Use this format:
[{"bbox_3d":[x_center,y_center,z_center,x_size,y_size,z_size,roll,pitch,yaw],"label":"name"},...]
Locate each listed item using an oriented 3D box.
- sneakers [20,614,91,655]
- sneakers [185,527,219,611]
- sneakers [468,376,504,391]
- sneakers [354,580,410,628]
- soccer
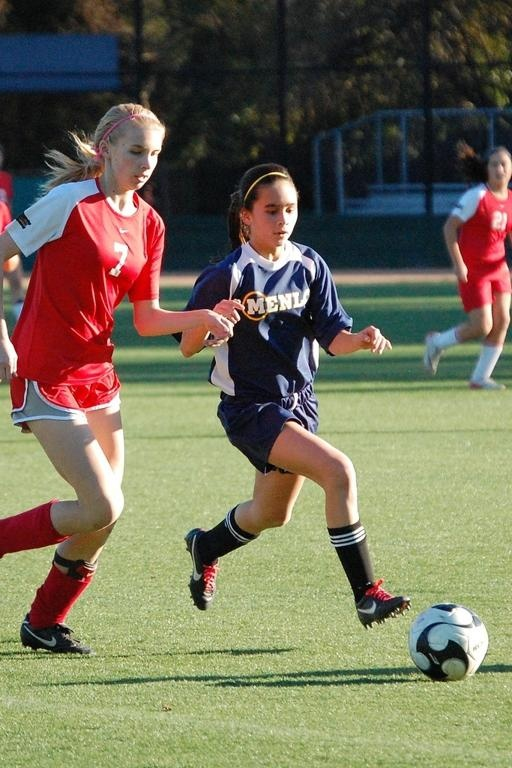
[{"bbox_3d":[-0.553,0.758,2.985,0.261,0.108,0.082,11,-15,5],"label":"sneakers"},{"bbox_3d":[-0.185,0.618,3.348,0.112,0.259,0.080,-28,-35,32],"label":"sneakers"},{"bbox_3d":[1.813,0.003,7.829,0.303,0.107,0.097,1,3,4],"label":"sneakers"},{"bbox_3d":[0.347,0.628,2.823,0.074,0.116,0.213,-44,8,-30],"label":"sneakers"},{"bbox_3d":[0.510,0.698,2.666,0.202,0.159,0.181,-1,7,-5],"label":"soccer"}]
